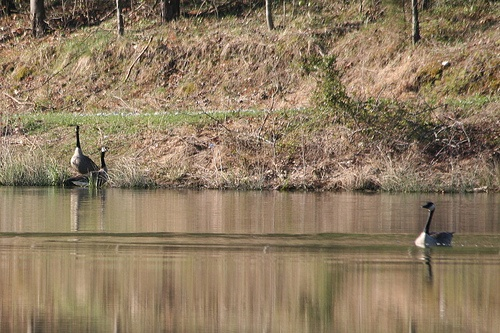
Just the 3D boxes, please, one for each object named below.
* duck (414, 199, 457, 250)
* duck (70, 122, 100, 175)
[{"bbox_3d":[6.932,2.267,41.785,1.555,2.057,0.862,-10,15,-28],"label":"duck"},{"bbox_3d":[-7.805,-0.838,53.544,1.168,2.462,1.524,2,-2,-4],"label":"duck"}]
